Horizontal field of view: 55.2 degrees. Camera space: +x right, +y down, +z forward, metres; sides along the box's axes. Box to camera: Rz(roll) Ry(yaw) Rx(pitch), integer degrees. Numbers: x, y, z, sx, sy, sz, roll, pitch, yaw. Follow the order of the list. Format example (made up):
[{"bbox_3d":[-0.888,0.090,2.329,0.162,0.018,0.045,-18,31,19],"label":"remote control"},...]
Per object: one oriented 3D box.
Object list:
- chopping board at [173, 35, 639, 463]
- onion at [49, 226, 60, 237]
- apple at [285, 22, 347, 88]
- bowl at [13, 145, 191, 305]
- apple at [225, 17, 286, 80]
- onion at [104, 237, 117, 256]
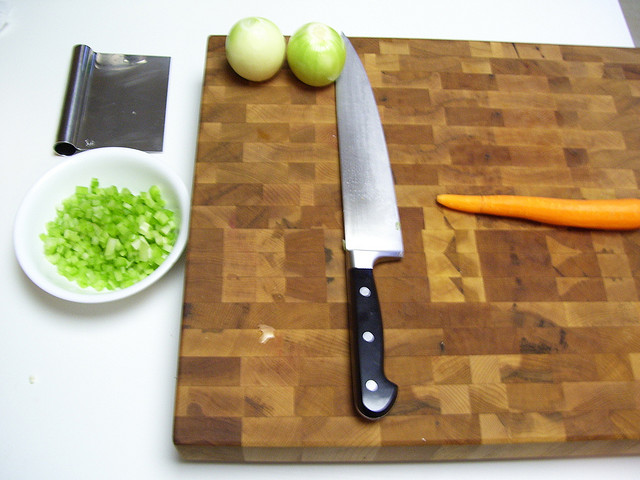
[{"bbox_3d":[0.302,-0.030,1.712,1.301,0.266,1.225,1,63,-2],"label":"chopping board"},{"bbox_3d":[-0.706,-0.025,1.619,0.024,0.014,0.030,-5,64,-5],"label":"onion"},{"bbox_3d":[-0.010,-0.524,1.774,0.191,0.134,0.157,-3,90,-20],"label":"apple"},{"bbox_3d":[-0.571,-0.033,1.614,0.437,0.140,0.427,1,63,-2],"label":"bowl"},{"bbox_3d":[-0.189,-0.566,1.770,0.198,0.195,0.173,10,105,27],"label":"apple"},{"bbox_3d":[-0.551,0.015,1.601,0.027,0.012,0.046,17,89,-4],"label":"onion"}]
